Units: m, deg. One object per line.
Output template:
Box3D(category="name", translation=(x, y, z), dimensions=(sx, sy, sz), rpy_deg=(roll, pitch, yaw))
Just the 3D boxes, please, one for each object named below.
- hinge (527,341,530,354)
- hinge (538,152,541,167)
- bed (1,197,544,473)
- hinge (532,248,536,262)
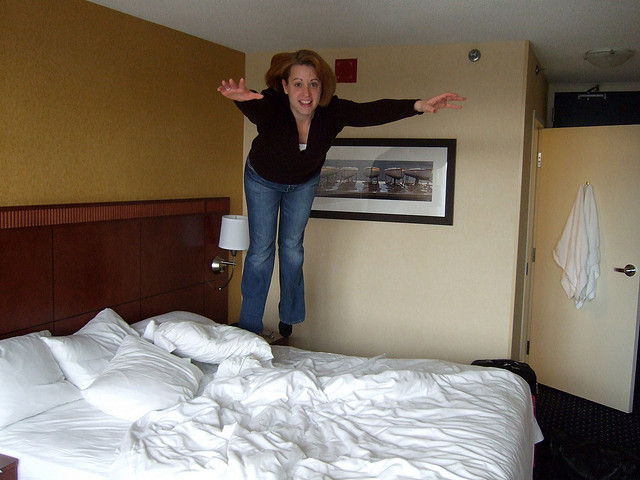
Box3D(category="hinge", translation=(2.146, 1.102, 4.922), dimensions=(0.012, 0.132, 0.046), rpy_deg=(8, 6, 42))
Box3D(category="hinge", translation=(2.206, -0.814, 4.808), dimensions=(0.046, 0.140, 0.017), rpy_deg=(1, 5, -34))
Box3D(category="bed", translation=(-0.318, 0.601, 3.319), dimensions=(1.588, 0.978, 1.688), rpy_deg=(5, 17, 17))
Box3D(category="hinge", translation=(2.192, 0.149, 4.886), dimensions=(0.037, 0.141, 0.026), rpy_deg=(5, 5, 14))
